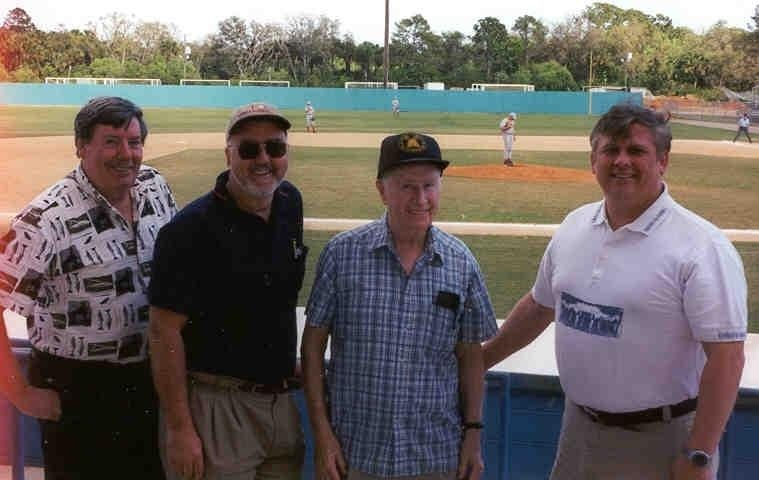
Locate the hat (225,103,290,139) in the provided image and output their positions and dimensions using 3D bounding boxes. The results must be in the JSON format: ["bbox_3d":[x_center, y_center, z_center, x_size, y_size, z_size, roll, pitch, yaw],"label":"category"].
[{"bbox_3d":[-0.633,-0.632,4.386,0.295,0.138,0.387,-3,-7,-20],"label":"hat"}]

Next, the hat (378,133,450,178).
[{"bbox_3d":[0.158,-0.453,4.299,0.344,0.203,0.452,-7,-4,-12],"label":"hat"}]

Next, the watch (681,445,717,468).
[{"bbox_3d":[1.577,1.061,4.126,0.108,0.110,0.057,3,37,15],"label":"watch"}]
